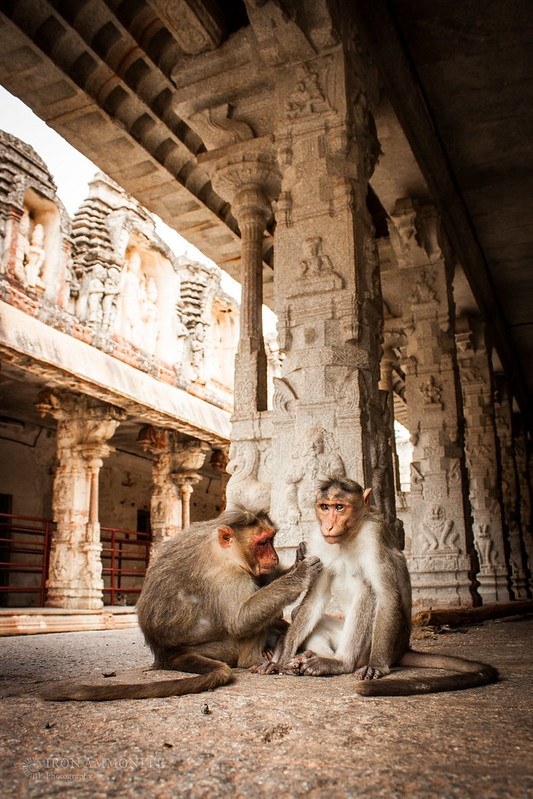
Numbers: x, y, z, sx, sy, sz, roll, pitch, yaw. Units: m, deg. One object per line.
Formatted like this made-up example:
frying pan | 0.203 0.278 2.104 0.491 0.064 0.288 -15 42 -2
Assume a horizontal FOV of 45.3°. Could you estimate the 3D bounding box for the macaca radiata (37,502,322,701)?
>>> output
macaca radiata | -0.332 0.820 2.646 1.157 0.602 0.484 -2 -3 -35
